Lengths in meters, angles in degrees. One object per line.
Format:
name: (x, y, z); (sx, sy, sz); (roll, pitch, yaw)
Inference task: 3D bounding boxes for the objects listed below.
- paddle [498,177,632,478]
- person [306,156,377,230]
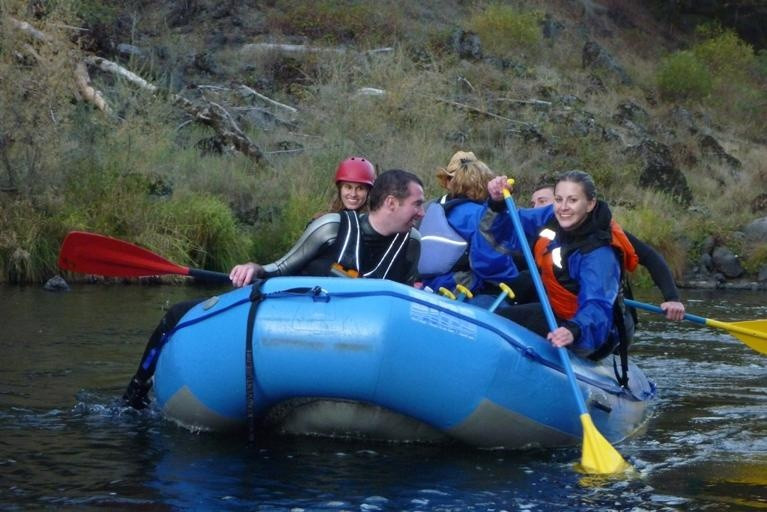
paddle: (1.853, 0.418, 12.019); (0.755, 4.292, 0.469); (-16, -22, -5)
person: (-0.483, -0.787, 12.541); (0.586, 0.934, 0.510); (17, 35, -12)
